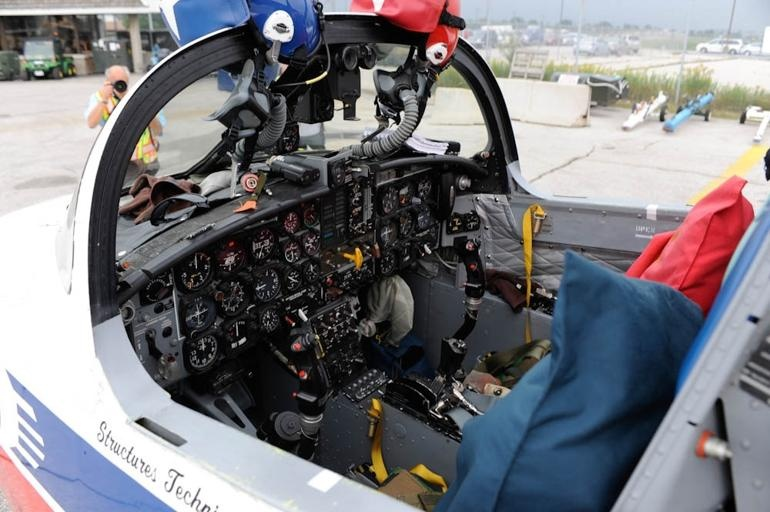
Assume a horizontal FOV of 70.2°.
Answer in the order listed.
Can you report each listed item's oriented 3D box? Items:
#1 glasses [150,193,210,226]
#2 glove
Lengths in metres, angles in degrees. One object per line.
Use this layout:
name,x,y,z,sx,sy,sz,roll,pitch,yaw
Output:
glasses,-1.172,-0.277,3.149,0.264,0.199,0.113,-29,65,-4
glove,-1.400,-0.383,3.454,0.310,0.197,0.428,3,24,33
